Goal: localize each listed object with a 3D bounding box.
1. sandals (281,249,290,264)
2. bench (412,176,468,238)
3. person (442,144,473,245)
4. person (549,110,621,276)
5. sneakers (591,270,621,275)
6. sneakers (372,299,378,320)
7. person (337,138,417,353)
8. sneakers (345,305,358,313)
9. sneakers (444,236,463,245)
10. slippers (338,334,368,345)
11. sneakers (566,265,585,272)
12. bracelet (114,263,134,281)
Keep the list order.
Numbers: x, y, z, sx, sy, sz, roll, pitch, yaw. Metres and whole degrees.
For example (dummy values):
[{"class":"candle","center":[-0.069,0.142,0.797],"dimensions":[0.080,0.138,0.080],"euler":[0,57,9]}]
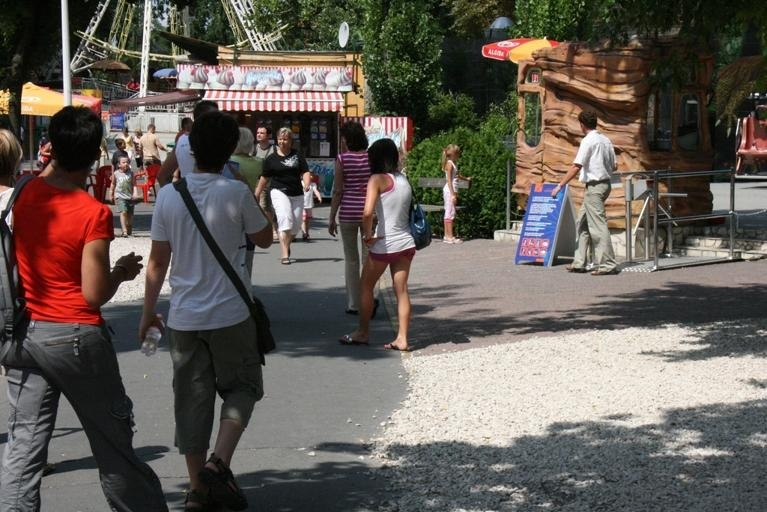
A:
[{"class":"sandals","center":[-1.592,0.016,17.015],"dimensions":[0.193,0.117,0.450],"euler":[0,6,-3]},{"class":"bench","center":[1.023,-1.032,21.019],"dimensions":[0.647,1.001,1.521],"euler":[-3,6,-25]},{"class":"person","center":[1.343,-1.173,19.908],"dimensions":[0.480,1.925,1.208],"euler":[-1,12,5]},{"class":"person","center":[3.099,-0.950,15.821],"dimensions":[0.853,2.423,0.838],"euler":[0,12,9]},{"class":"sneakers","center":[3.316,0.252,15.719],"dimensions":[0.363,0.099,0.135],"euler":[2,3,-3]},{"class":"sneakers","center":[-0.110,0.667,13.132],"dimensions":[0.065,0.202,0.143],"euler":[7,11,7]},{"class":"person","center":[-0.009,-0.124,11.574],"dimensions":[0.636,2.328,0.692],"euler":[-14,17,-42]},{"class":"sneakers","center":[-0.416,0.671,13.255],"dimensions":[0.133,0.092,0.075],"euler":[-1,8,13]},{"class":"sneakers","center":[1.301,-0.296,19.813],"dimensions":[0.340,0.141,0.139],"euler":[0,4,6]},{"class":"slippers","center":[-0.347,0.954,11.868],"dimensions":[0.239,0.082,0.138],"euler":[4,-4,-11]},{"class":"sneakers","center":[2.938,0.192,16.047],"dimensions":[0.226,0.098,0.093],"euler":[4,4,16]},{"class":"bracelet","center":[-1.909,0.127,7.726],"dimensions":[0.112,0.051,0.149],"euler":[11,-22,-23]}]
